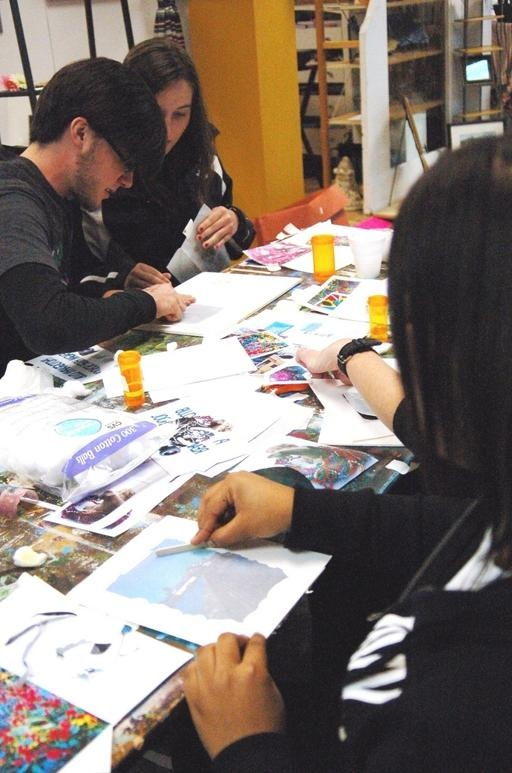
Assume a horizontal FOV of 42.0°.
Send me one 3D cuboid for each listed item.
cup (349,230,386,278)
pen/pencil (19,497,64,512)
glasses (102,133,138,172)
[{"bbox_3d":[0.314,-0.376,1.882,0.121,0.116,0.115,3,12,-1],"label":"cup"},{"bbox_3d":[-0.325,0.179,1.007,0.050,0.007,0.009,8,-12,20],"label":"pen/pencil"},{"bbox_3d":[-0.334,-0.572,1.648,0.060,0.020,0.044,38,5,9],"label":"glasses"}]
